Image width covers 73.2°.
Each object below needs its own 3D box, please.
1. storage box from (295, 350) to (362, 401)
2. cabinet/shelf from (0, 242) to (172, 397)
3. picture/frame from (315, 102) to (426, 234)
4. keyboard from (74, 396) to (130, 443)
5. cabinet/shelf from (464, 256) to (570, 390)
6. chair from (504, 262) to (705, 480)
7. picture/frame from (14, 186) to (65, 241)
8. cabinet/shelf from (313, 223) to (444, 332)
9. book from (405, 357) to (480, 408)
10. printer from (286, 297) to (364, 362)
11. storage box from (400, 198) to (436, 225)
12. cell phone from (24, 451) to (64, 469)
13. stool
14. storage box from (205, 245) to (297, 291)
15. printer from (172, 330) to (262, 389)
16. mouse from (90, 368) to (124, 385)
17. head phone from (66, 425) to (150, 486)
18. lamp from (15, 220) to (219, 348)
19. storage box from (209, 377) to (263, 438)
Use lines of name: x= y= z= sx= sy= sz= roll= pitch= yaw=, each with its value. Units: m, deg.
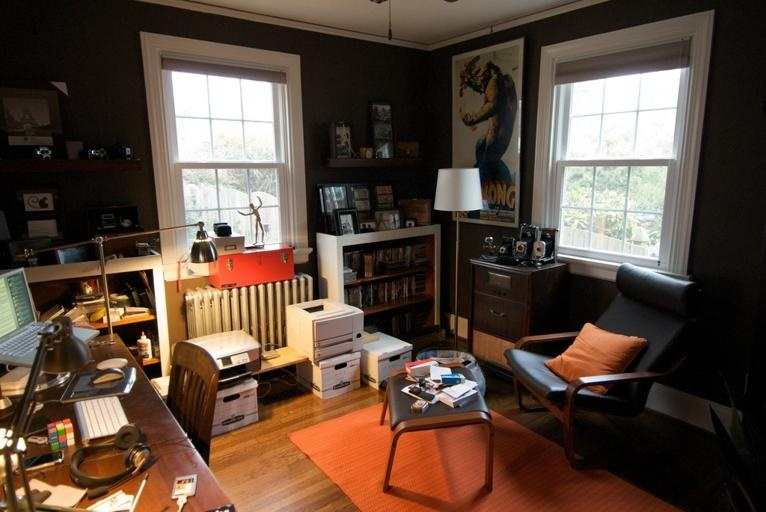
storage box: x=-0.482 y=1.020 z=4.760 sx=0.433 sy=0.271 sz=0.432 roll=-6 pitch=10 yaw=-35
cabinet/shelf: x=-2.141 y=0.410 z=3.667 sx=1.161 sy=1.059 sz=0.362 roll=-8 pitch=13 yaw=-38
picture/frame: x=-0.180 y=-0.918 z=5.385 sx=1.341 sy=1.469 sz=0.413 roll=-8 pitch=9 yaw=-42
keyboard: x=-1.653 y=0.939 z=3.061 sx=0.256 sy=0.349 sz=0.078 roll=-7 pitch=29 yaw=-23
cabinet/shelf: x=1.311 y=0.613 z=5.079 sx=0.634 sy=1.113 sz=0.779 roll=-4 pitch=9 yaw=-35
chair: x=1.693 y=0.811 z=4.194 sx=1.295 sy=1.287 sz=0.957 roll=-6 pitch=15 yaw=-18
picture/frame: x=-2.694 y=-0.328 z=4.065 sx=0.296 sy=0.508 sz=0.054 roll=-6 pitch=-24 yaw=-33
cabinet/shelf: x=-0.097 y=0.186 z=5.384 sx=1.141 sy=1.008 sz=0.327 roll=-7 pitch=6 yaw=-39
book: x=0.427 y=0.908 z=3.890 sx=0.330 sy=0.079 sz=0.327 roll=-8 pitch=15 yaw=-29
printer: x=-0.531 y=0.645 z=4.795 sx=0.548 sy=0.411 sz=0.571 roll=-7 pitch=11 yaw=-42
storage box: x=0.358 y=-0.457 z=5.759 sx=0.449 sy=0.417 sz=0.258 roll=1 pitch=4 yaw=28
cell phone: x=-1.823 y=1.093 z=2.778 sx=0.188 sy=0.046 sz=0.087 roll=-9 pitch=13 yaw=-22
stool: x=0.356 y=1.272 z=4.120 sx=0.828 sy=0.534 sz=1.114 roll=1 pitch=13 yaw=-6
storage box: x=-1.257 y=0.013 z=4.885 sx=0.773 sy=0.334 sz=0.439 roll=-9 pitch=32 yaw=-36
printer: x=-1.427 y=0.873 z=4.409 sx=0.591 sy=0.248 sz=0.641 roll=14 pitch=14 yaw=41
mouse: x=-1.734 y=0.752 z=3.255 sx=0.182 sy=0.060 sz=0.099 roll=-3 pitch=10 yaw=-23
head phone: x=-1.481 y=1.075 z=2.817 sx=0.397 sy=0.154 sz=0.397 roll=-7 pitch=23 yaw=-26
lamp: x=-2.212 y=0.340 z=4.443 sx=1.474 sy=1.552 sz=0.339 roll=-12 pitch=54 yaw=-33
storage box: x=-1.203 y=1.341 z=4.434 sx=0.417 sy=0.338 sz=0.409 roll=-13 pitch=-28 yaw=-3
